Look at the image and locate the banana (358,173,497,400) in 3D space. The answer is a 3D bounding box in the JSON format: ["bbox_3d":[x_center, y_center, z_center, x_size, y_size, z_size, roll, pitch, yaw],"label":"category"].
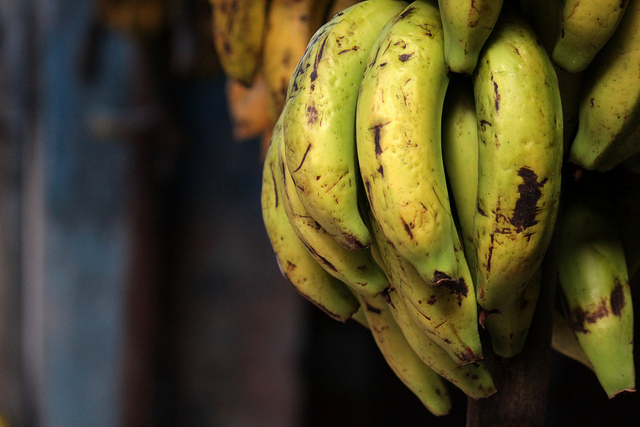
[{"bbox_3d":[0.194,0.111,1.234,0.126,0.388,0.083,-31,4,-37],"label":"banana"}]

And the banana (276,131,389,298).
[{"bbox_3d":[0.027,-0.009,1.226,0.090,0.272,0.069,-31,-1,-42],"label":"banana"}]

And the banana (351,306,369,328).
[{"bbox_3d":[0.081,0.204,1.437,0.015,0.011,0.095,-15,-30,4],"label":"banana"}]

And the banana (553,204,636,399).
[{"bbox_3d":[0.495,0.137,1.342,0.122,0.434,0.118,-16,-19,39],"label":"banana"}]

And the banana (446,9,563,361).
[{"bbox_3d":[0.312,-0.085,1.194,0.162,0.658,0.192,2,3,-34],"label":"banana"}]
